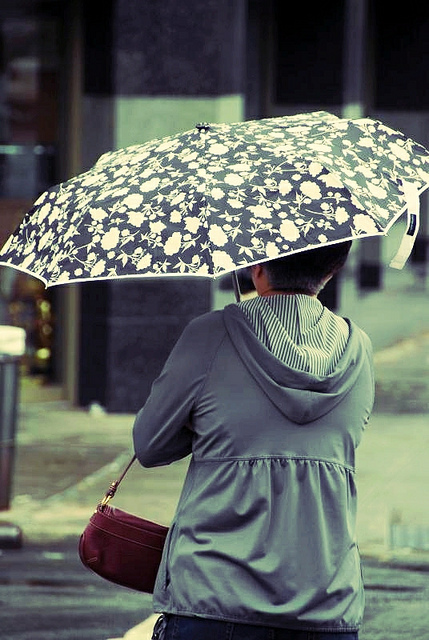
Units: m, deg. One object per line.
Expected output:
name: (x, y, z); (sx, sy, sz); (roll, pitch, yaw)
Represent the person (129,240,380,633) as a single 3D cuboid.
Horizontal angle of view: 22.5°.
person: (0.111, 0.294, 2.627); (0.614, 0.924, 0.432); (-2, 10, -5)
